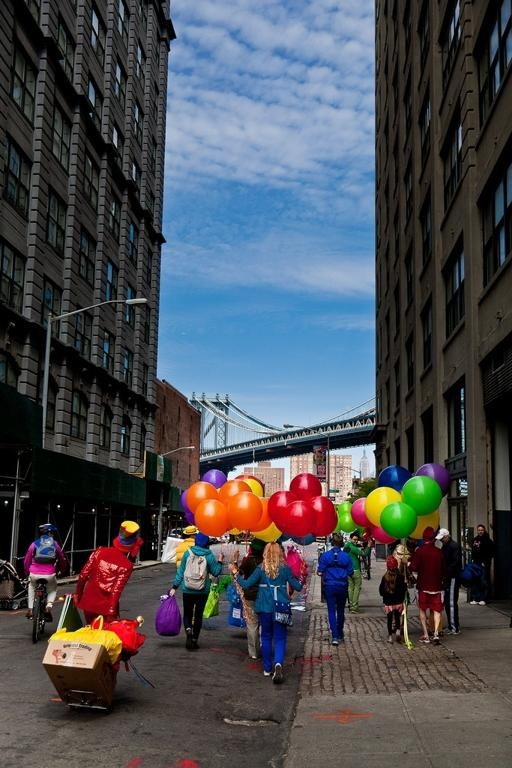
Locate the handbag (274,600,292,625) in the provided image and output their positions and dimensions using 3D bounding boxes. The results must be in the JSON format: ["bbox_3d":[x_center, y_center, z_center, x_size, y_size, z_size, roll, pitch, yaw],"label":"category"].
[{"bbox_3d":[0.298,2.648,7.264,0.061,0.251,0.241,-23,-32,28],"label":"handbag"}]

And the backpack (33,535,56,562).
[{"bbox_3d":[-3.502,2.754,10.411,0.417,0.619,0.318,5,-25,-21],"label":"backpack"}]

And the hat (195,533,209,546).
[{"bbox_3d":[-0.810,2.356,9.468,0.152,0.245,0.226,3,8,5],"label":"hat"}]

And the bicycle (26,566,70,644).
[{"bbox_3d":[-3.625,3.652,10.377,0.608,1.072,1.569,9,-18,-16],"label":"bicycle"}]

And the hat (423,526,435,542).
[{"bbox_3d":[2.822,2.463,10.238,0.146,0.179,0.203,0,0,14],"label":"hat"}]

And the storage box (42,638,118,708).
[{"bbox_3d":[-1.415,2.366,5.053,0.458,0.621,0.583,-1,-12,1],"label":"storage box"}]

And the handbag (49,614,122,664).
[{"bbox_3d":[-1.325,2.101,5.171,0.352,0.270,0.527,-3,-21,19],"label":"handbag"}]

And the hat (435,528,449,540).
[{"bbox_3d":[3.402,2.720,11.412,0.229,0.226,0.381,-13,-20,41],"label":"hat"}]
